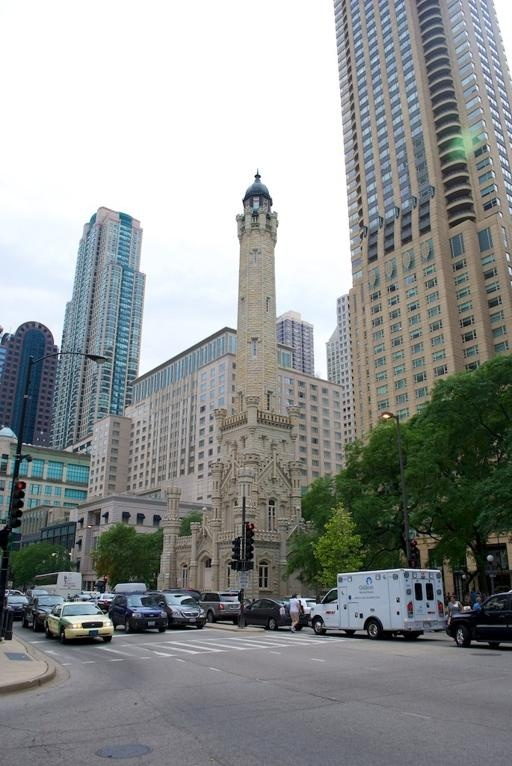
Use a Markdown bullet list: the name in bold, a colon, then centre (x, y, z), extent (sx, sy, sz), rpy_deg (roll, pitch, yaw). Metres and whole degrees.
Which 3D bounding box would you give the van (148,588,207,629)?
- **van**: centre (-3.469, 9.829, 28.489), extent (1.348, 0.911, 2.480), rpy_deg (12, -33, -23)

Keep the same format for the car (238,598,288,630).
- **car**: centre (0.473, 9.961, 28.483), extent (1.209, 0.923, 2.431), rpy_deg (14, -22, -29)

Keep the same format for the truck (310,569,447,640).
- **truck**: centre (4.000, 7.863, 23.447), extent (2.070, 2.165, 5.326), rpy_deg (12, -22, -31)

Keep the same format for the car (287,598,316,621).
- **car**: centre (2.181, 9.784, 28.417), extent (0.998, 0.765, 1.606), rpy_deg (11, -19, -29)

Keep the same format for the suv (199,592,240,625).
- **suv**: centre (-1.805, 11.293, 33.281), extent (1.253, 0.959, 2.360), rpy_deg (8, -20, -18)

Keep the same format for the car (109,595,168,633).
- **car**: centre (-4.700, 9.249, 26.486), extent (1.410, 1.156, 2.764), rpy_deg (12, -32, -25)
